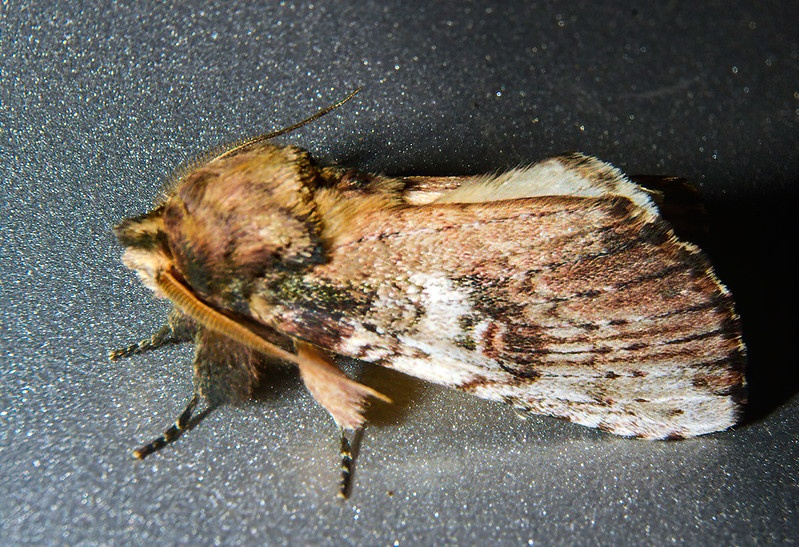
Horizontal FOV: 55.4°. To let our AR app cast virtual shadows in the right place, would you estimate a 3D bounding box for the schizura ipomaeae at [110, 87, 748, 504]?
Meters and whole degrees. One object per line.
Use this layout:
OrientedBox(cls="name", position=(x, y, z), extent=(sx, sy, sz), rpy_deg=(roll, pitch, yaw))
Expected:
OrientedBox(cls="schizura ipomaeae", position=(0.058, 0.034, 1.224), extent=(1.016, 0.168, 0.450), rpy_deg=(2, 83, -2))
